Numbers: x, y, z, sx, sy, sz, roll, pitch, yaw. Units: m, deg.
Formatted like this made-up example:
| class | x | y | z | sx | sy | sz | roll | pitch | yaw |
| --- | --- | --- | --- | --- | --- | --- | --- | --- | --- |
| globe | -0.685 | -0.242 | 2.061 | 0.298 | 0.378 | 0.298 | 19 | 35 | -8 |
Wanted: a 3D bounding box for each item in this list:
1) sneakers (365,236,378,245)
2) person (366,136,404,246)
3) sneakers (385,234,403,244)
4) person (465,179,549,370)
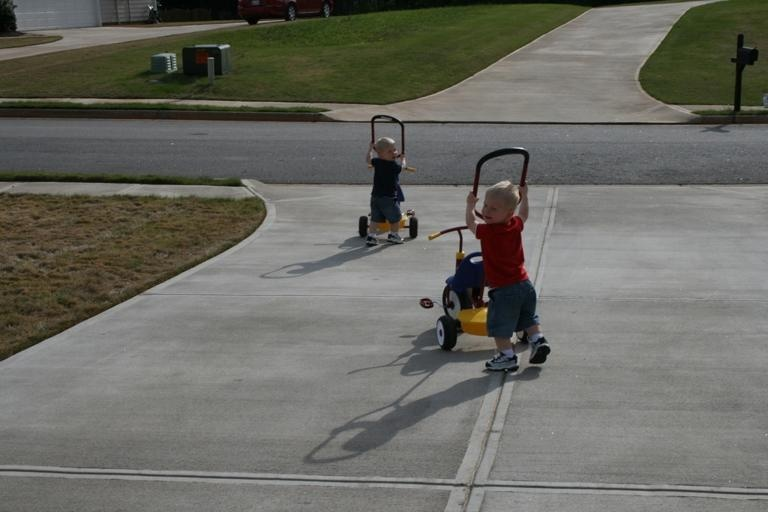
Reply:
| class | x | y | z | sx | sy | sz | roll | pitch | yaw |
| --- | --- | --- | --- | --- | --- | --- | --- | --- | --- |
| sneakers | -0.175 | -0.222 | 16.395 | 0.167 | 0.132 | 0.099 | -6 | 23 | -11 |
| person | 0.018 | -0.933 | 16.537 | 0.542 | 1.449 | 0.954 | -2 | 22 | 2 |
| sneakers | 0.139 | -0.248 | 16.571 | 0.245 | 0.097 | 0.101 | -8 | 19 | -35 |
| person | 1.359 | 0.224 | 13.019 | 0.795 | 2.046 | 0.795 | -4 | 23 | -4 |
